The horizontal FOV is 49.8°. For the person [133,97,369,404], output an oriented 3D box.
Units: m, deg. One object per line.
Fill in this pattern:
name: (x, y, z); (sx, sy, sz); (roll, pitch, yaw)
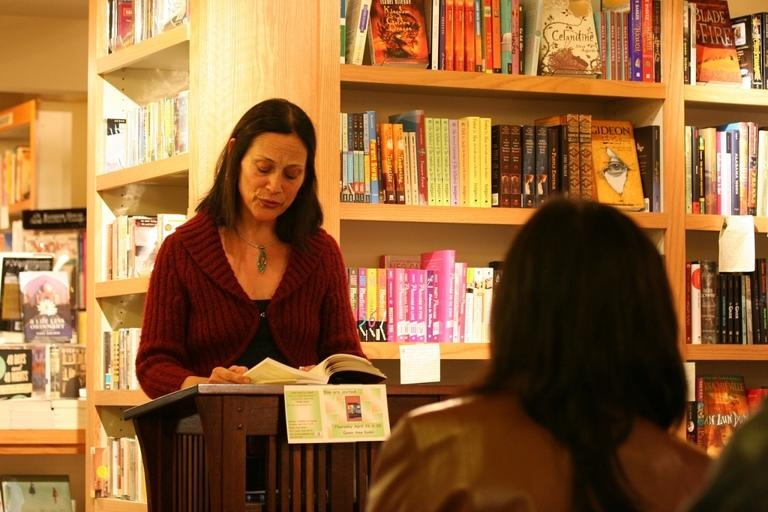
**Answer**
person: (-0.394, 0.139, 2.646); (0.733, 1.242, 0.662); (3, -1, -25)
